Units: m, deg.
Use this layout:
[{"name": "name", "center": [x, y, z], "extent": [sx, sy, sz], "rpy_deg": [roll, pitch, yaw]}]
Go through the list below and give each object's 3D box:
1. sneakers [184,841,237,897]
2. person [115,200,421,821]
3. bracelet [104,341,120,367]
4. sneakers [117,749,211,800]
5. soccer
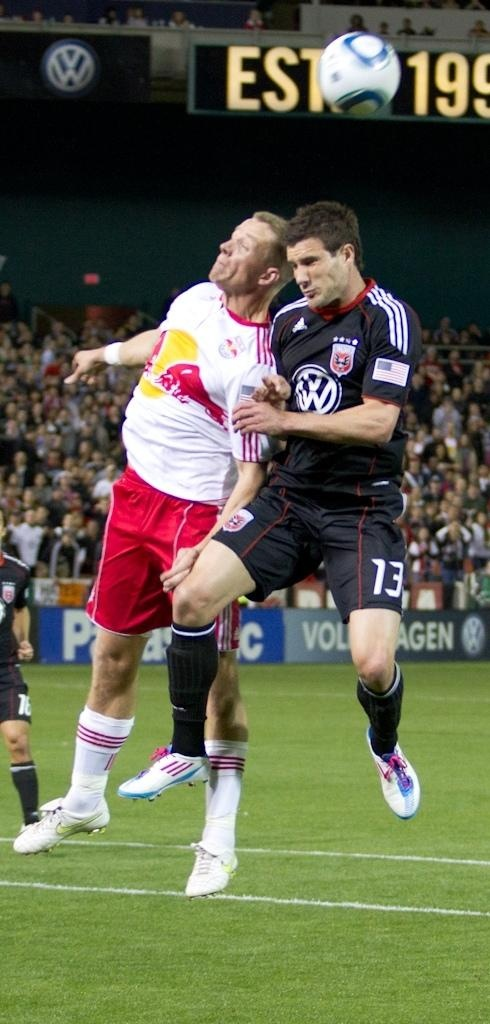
[{"name": "sneakers", "center": [-0.106, 1.162, 3.197], "extent": [0.124, 0.148, 0.236], "rpy_deg": [3, -6, 5]}, {"name": "person", "center": [0.197, -0.034, 3.501], "extent": [1.069, 2.226, 0.618], "rpy_deg": [4, -6, -7]}, {"name": "bracelet", "center": [-0.537, -0.641, 4.039], "extent": [0.088, 0.087, 0.089], "rpy_deg": [-3, 8, -11]}, {"name": "sneakers", "center": [-0.269, 0.885, 3.341], "extent": [0.286, 0.183, 0.193], "rpy_deg": [4, -6, -2]}, {"name": "soccer", "center": [0.800, -3.020, 6.671], "extent": [0.558, 0.621, 0.611], "rpy_deg": [-1, 7, 10]}]
